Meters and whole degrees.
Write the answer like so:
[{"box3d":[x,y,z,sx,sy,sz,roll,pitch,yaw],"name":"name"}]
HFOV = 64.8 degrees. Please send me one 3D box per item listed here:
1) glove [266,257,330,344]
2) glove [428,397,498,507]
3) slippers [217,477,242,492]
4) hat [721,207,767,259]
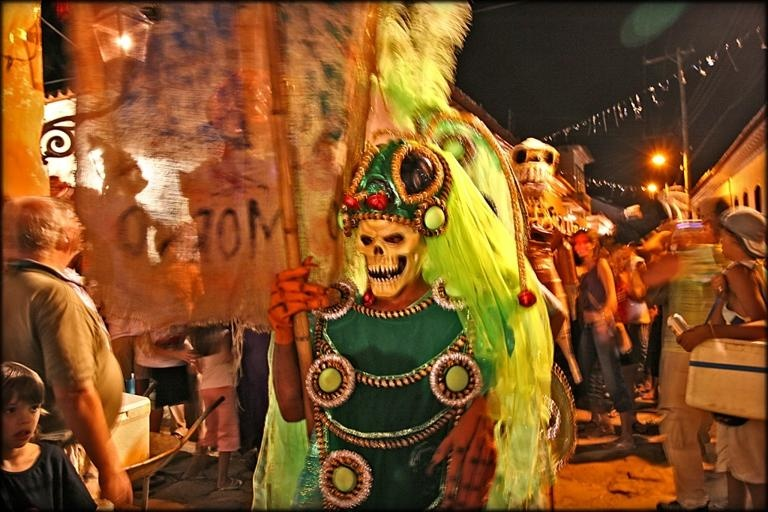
[{"box3d":[-0.401,0.200,2.770,0.270,0.350,0.123,8,5,2],"name":"glove"},{"box3d":[0.366,0.896,2.754,0.283,0.479,0.062,1,-9,-15],"name":"glove"},{"box3d":[-1.166,1.733,4.576,0.136,0.047,0.075,-2,1,7],"name":"slippers"},{"box3d":[2.042,-0.137,3.438,0.222,0.298,0.119,-5,-10,23],"name":"hat"}]
